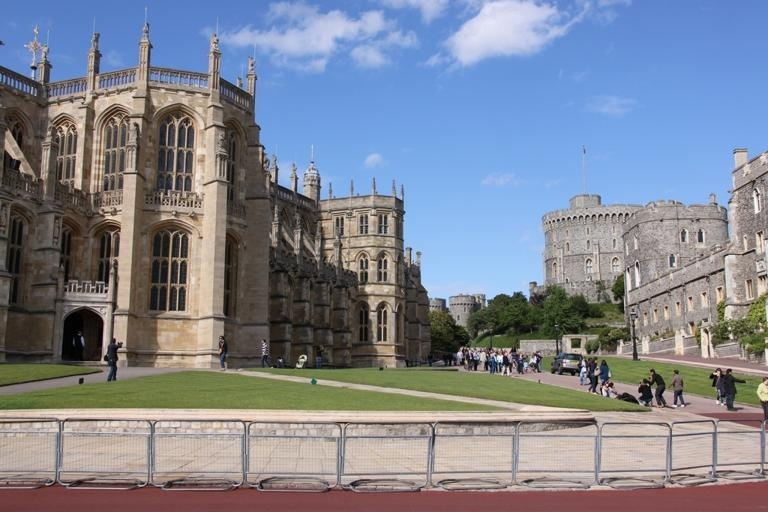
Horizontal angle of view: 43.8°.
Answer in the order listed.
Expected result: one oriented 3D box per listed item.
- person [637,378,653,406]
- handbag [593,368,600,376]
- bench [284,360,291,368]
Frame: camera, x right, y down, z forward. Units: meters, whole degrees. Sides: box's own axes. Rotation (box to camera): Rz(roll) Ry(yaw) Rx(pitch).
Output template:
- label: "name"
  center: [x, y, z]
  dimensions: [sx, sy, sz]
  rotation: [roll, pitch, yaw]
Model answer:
- label: "person"
  center: [13.436, 6.979, 48.495]
  dimensions: [0.678, 0.946, 1.608]
  rotation: [0, 0, 15]
- label: "handbag"
  center: [11.894, 6.409, 52.703]
  dimensions: [0.294, 0.247, 0.450]
  rotation: [0, 0, 38]
- label: "bench"
  center: [-6.938, 7.866, 68.798]
  dimensions: [0.343, 0.251, 1.356]
  rotation: [4, 2, 1]
